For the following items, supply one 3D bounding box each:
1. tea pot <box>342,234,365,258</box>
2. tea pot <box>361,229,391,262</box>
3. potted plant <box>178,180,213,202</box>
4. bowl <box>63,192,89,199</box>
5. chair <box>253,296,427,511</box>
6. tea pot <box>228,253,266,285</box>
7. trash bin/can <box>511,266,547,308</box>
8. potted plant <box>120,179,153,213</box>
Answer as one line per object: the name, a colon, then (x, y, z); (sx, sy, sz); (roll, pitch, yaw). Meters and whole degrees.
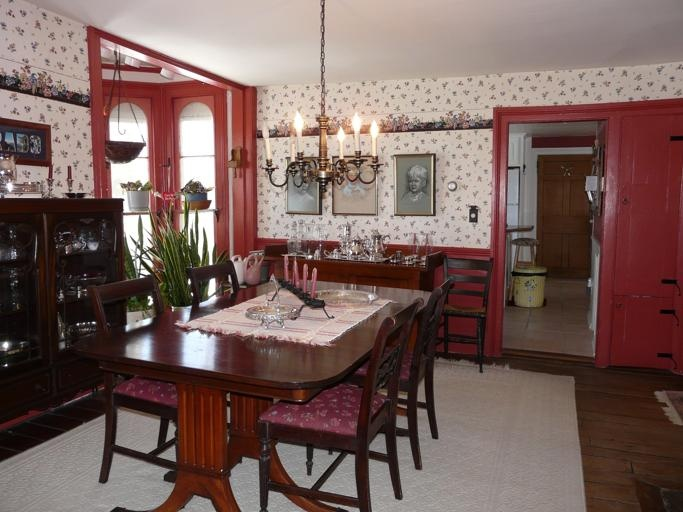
tea pot: (0.130, -0.114, 5.245); (0.225, 0.315, 0.195); (0, 5, 2)
tea pot: (0.386, -0.117, 5.248); (0.340, 0.369, 0.223); (-5, 10, -31)
potted plant: (-1.641, -0.731, 5.681); (0.317, 0.221, 0.324); (9, 9, 43)
bowl: (-1.996, -0.461, 3.833); (0.156, 0.057, 0.327); (-5, 13, -28)
chair: (0.021, 0.790, 3.301); (1.004, 1.831, 1.007); (4, 4, 21)
tea pot: (-1.005, 0.135, 5.597); (0.425, 0.466, 0.280); (0, 2, -2)
trash bin/can: (2.723, 0.438, 7.403); (0.516, 0.609, 0.541); (0, 0, 1)
potted plant: (-2.148, -0.633, 5.445); (0.340, 0.353, 0.353); (0, 8, -10)
